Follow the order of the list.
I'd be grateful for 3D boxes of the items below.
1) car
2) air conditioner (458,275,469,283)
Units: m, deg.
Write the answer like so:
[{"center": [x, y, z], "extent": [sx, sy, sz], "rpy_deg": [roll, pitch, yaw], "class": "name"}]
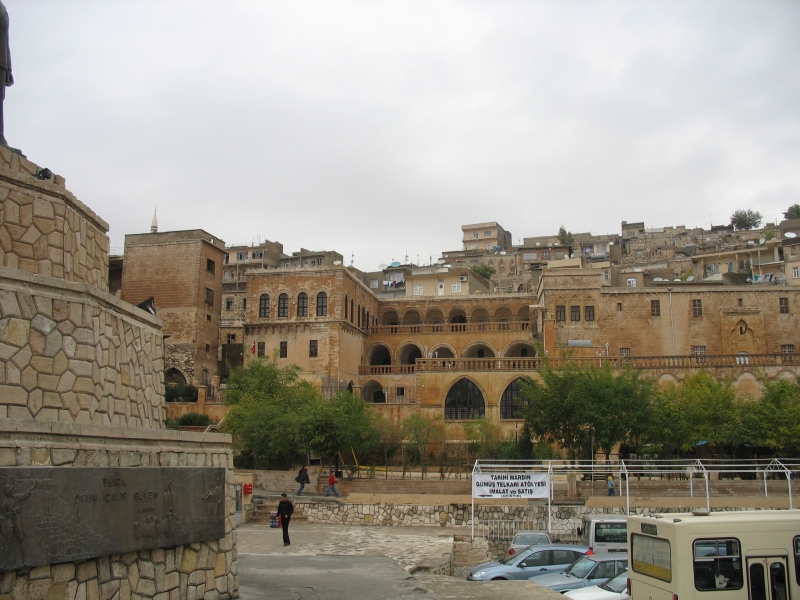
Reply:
[{"center": [3.786, 6.178, 25.279], "extent": [3.033, 1.585, 1.801], "rpy_deg": [4, -16, -2], "class": "car"}, {"center": [4.759, -1.584, 77.435], "extent": [0.678, 0.583, 0.355], "rpy_deg": [-2, -9, 13], "class": "air conditioner"}]
